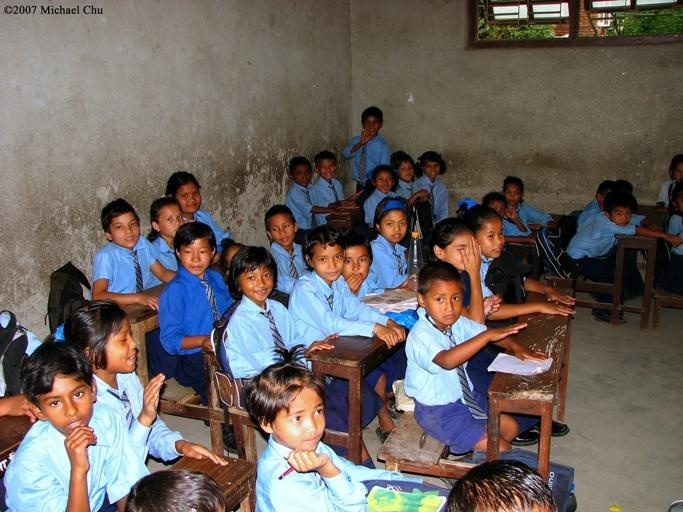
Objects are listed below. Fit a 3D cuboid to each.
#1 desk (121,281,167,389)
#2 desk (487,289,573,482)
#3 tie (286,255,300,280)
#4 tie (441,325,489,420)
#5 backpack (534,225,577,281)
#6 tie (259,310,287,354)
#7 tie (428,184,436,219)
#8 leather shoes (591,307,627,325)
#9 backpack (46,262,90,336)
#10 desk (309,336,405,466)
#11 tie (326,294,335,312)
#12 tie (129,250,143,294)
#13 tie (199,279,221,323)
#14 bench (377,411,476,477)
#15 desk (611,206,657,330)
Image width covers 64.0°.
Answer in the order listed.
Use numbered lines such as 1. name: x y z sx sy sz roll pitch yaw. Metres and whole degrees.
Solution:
1. desk: -1.162 0.506 3.252 0.227 0.514 0.483 -5 11 -19
2. desk: 0.887 0.612 2.578 0.238 0.509 0.810 2 14 18
3. tie: -0.356 0.092 4.096 0.040 0.169 0.102 3 5 42
4. tie: 0.583 0.600 2.647 0.153 0.537 0.058 -22 6 -5
5. backpack: 1.746 0.009 4.407 0.255 0.487 0.351 -14 -9 30
6. tie: -0.335 0.383 2.805 0.053 0.197 0.140 -28 -1 -4
7. tie: 0.988 -0.567 5.927 0.094 0.282 0.206 0 10 10
8. leather shoes: 2.267 0.502 4.585 0.105 0.137 0.313 -3 2 -43
9. backpack: -1.688 0.260 3.325 0.236 0.428 0.298 6 9 -27
10. desk: 0.078 0.687 2.756 0.319 0.578 0.509 2 11 18
11. tie: -0.062 0.255 2.966 0.036 0.085 0.090 0 10 7
12. tie: -1.312 0.102 3.540 0.053 0.217 0.163 -14 13 -20
13. tie: -0.761 0.252 3.240 0.060 0.237 0.174 -19 9 -23
14. bench: 0.386 0.866 2.462 0.392 0.162 0.347 2 11 16
15. desk: 2.398 0.225 4.509 0.468 0.726 0.378 0 -1 40
